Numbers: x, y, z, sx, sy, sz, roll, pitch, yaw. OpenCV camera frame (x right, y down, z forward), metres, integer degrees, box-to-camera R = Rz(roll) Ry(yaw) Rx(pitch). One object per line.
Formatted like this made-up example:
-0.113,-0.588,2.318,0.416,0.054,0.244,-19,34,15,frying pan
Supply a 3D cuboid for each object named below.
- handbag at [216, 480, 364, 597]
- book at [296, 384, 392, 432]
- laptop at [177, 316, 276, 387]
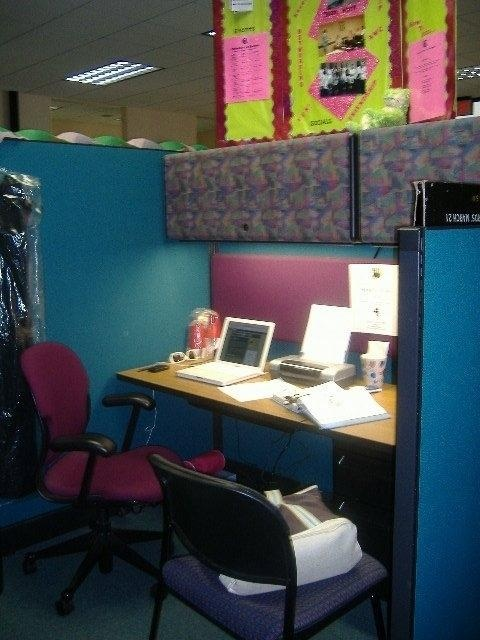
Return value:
0.115,0.518,1.192,0.323,0.118,0.335,-2,6,-15,handbag
0.355,0.303,1.780,0.288,0.071,0.237,-3,6,-22,book
-0.048,0.155,2.360,0.332,0.235,0.333,9,11,43,laptop
